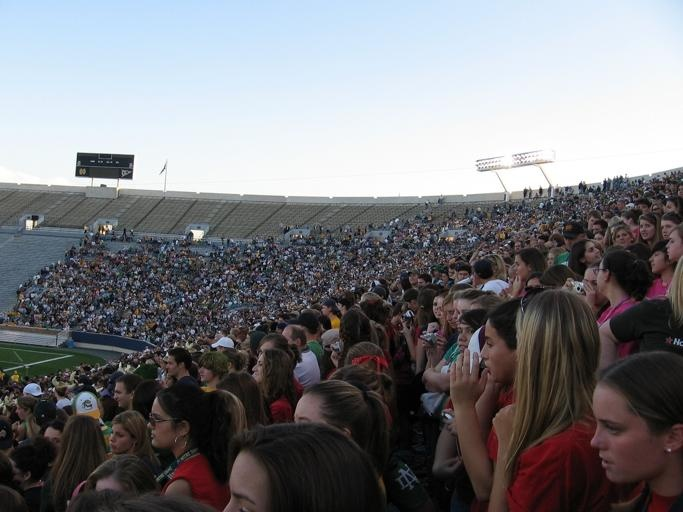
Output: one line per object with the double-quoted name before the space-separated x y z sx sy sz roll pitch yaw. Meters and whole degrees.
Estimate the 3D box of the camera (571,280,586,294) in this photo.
"camera" 1.734 0.223 4.304 0.077 0.053 0.165 -8 8 13

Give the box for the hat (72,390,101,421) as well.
"hat" -2.871 1.672 6.606 0.257 0.309 0.637 -8 3 -26
